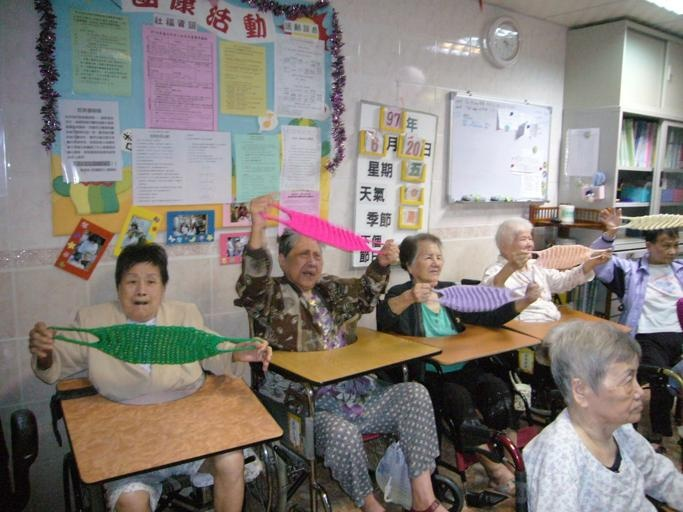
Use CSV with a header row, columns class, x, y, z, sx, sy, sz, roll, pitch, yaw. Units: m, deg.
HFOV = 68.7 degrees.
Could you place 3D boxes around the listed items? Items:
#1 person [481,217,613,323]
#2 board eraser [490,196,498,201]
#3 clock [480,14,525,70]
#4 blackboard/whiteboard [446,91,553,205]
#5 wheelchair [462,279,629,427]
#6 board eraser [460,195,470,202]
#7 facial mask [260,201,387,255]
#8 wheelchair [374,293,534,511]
class,x,y,z,sx,sy,sz,roll,pitch,yaw
person,1.287,0.111,3.301,0.860,0.658,0.685,-10,10,-42
board eraser,1.225,-0.458,4.030,0.049,0.030,0.044,21,7,-16
clock,1.269,-1.677,3.946,0.433,0.382,0.091,-4,8,-38
blackboard/whiteboard,1.226,-0.875,4.003,0.978,0.704,0.098,-6,12,-34
wheelchair,1.114,0.632,3.276,0.732,1.032,1.017,-3,1,-41
board eraser,0.964,-0.446,3.867,0.105,0.047,0.018,-4,8,-39
facial mask,-0.122,-0.156,2.762,0.468,0.202,0.751,0,6,-9
wheelchair,0.690,0.620,3.150,1.289,1.105,0.896,4,5,33
